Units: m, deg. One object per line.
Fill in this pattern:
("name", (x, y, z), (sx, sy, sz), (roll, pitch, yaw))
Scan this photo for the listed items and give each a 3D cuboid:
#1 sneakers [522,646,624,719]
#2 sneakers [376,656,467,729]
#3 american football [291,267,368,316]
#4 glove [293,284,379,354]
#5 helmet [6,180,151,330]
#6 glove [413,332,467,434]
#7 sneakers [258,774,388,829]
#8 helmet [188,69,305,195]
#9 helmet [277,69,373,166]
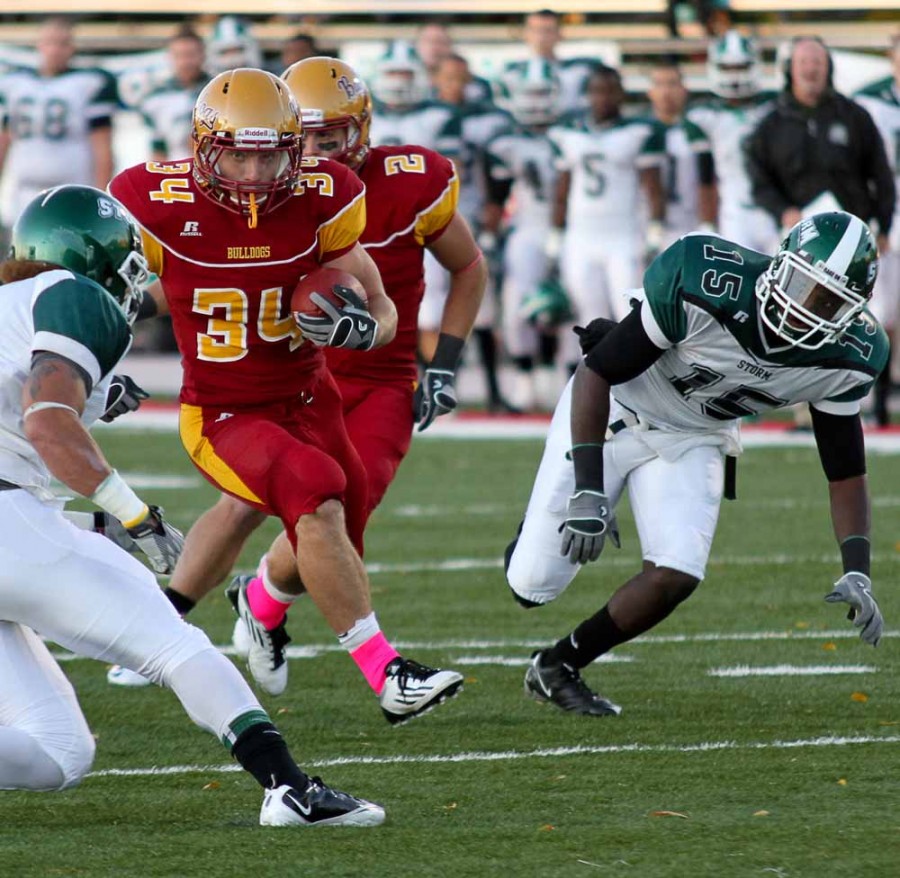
("sneakers", (0.249, 0.525, 3.419), (0.269, 0.096, 0.083), (18, 35, 17))
("sneakers", (-0.050, 0.480, 2.916), (0.140, 0.137, 0.093), (10, 27, 30))
("american football", (-0.231, -0.293, 3.145), (0.159, 0.087, 0.097), (-5, -8, -2))
("glove", (-0.218, -0.242, 3.118), (0.180, 0.097, 0.068), (13, -1, -7))
("helmet", (-0.640, -0.315, 2.617), (0.315, 0.231, 0.216), (1, 14, -31))
("glove", (-0.022, -0.139, 3.729), (0.088, 0.080, 0.274), (-20, 35, 35))
("sneakers", (-0.210, 0.596, 2.591), (0.243, 0.066, 0.074), (0, -1, -18))
("helmet", (-0.426, -0.628, 3.174), (0.266, 0.217, 0.266), (-2, 43, -10))
("helmet", (-0.281, -0.790, 3.717), (0.236, 0.197, 0.216), (-10, 63, -1))
